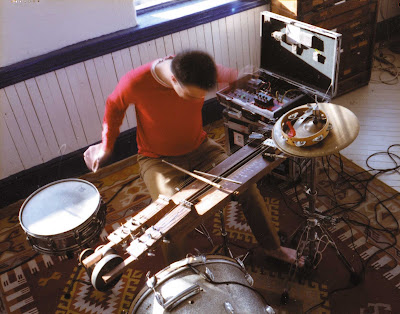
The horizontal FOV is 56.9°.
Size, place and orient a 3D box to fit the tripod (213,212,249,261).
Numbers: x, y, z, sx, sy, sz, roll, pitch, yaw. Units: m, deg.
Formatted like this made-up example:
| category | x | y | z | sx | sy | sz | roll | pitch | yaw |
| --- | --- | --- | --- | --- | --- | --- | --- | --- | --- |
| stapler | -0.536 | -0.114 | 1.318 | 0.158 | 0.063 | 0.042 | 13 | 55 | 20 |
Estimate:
| category | x | y | z | sx | sy | sz | roll | pitch | yaw |
| --- | --- | --- | --- | --- | --- | --- | --- | --- | --- |
| tripod | 0.175 | 0.586 | 2.843 | 0.254 | 0.331 | 0.253 | -4 | 1 | 39 |

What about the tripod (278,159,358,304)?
| category | x | y | z | sx | sy | sz | roll | pitch | yaw |
| --- | --- | --- | --- | --- | --- | --- | --- | --- | --- |
| tripod | 0.986 | 0.661 | 3.112 | 0.762 | 1.116 | 0.793 | -1 | 57 | 13 |

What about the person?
| category | x | y | z | sx | sy | sz | roll | pitch | yaw |
| --- | --- | --- | --- | --- | --- | --- | --- | --- | --- |
| person | 0.000 | 0.029 | 2.873 | 0.964 | 1.305 | 1.260 | -37 | 67 | -13 |

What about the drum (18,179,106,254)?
| category | x | y | z | sx | sy | sz | roll | pitch | yaw |
| --- | --- | --- | --- | --- | --- | --- | --- | --- | --- |
| drum | -0.988 | 0.421 | 2.727 | 0.615 | 0.223 | 0.630 | -4 | 39 | 4 |

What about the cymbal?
| category | x | y | z | sx | sy | sz | roll | pitch | yaw |
| --- | --- | --- | --- | --- | --- | --- | --- | --- | --- |
| cymbal | 0.726 | -0.168 | 2.310 | 0.527 | 0.069 | 0.449 | -16 | 43 | -5 |
